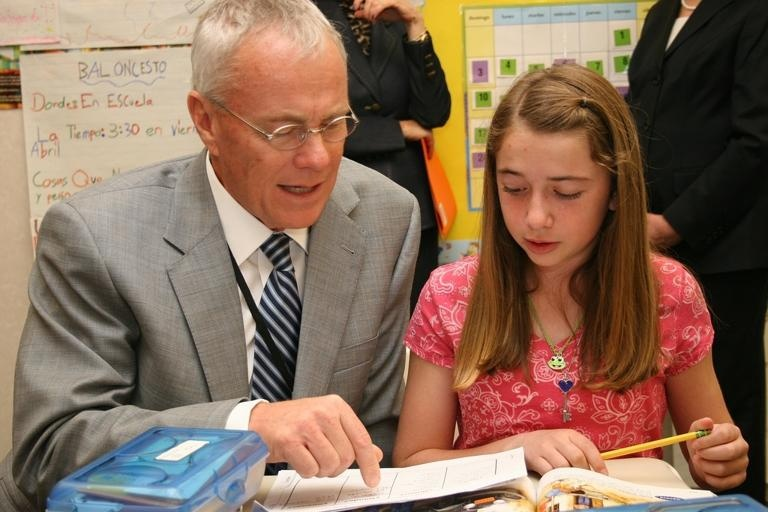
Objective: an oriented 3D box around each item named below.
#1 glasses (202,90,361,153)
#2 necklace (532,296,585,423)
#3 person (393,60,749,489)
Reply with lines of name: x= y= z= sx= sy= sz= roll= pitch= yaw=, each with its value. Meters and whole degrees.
glasses: x=-0.260 y=-0.318 z=1.597 sx=0.324 sy=0.123 sz=0.077 roll=-1 pitch=23 yaw=6
necklace: x=0.423 y=0.251 z=1.634 sx=0.098 sy=0.236 sz=0.194 roll=-5 pitch=23 yaw=-2
person: x=0.446 y=0.156 z=1.680 sx=0.818 sy=1.173 sz=0.690 roll=-2 pitch=14 yaw=12
